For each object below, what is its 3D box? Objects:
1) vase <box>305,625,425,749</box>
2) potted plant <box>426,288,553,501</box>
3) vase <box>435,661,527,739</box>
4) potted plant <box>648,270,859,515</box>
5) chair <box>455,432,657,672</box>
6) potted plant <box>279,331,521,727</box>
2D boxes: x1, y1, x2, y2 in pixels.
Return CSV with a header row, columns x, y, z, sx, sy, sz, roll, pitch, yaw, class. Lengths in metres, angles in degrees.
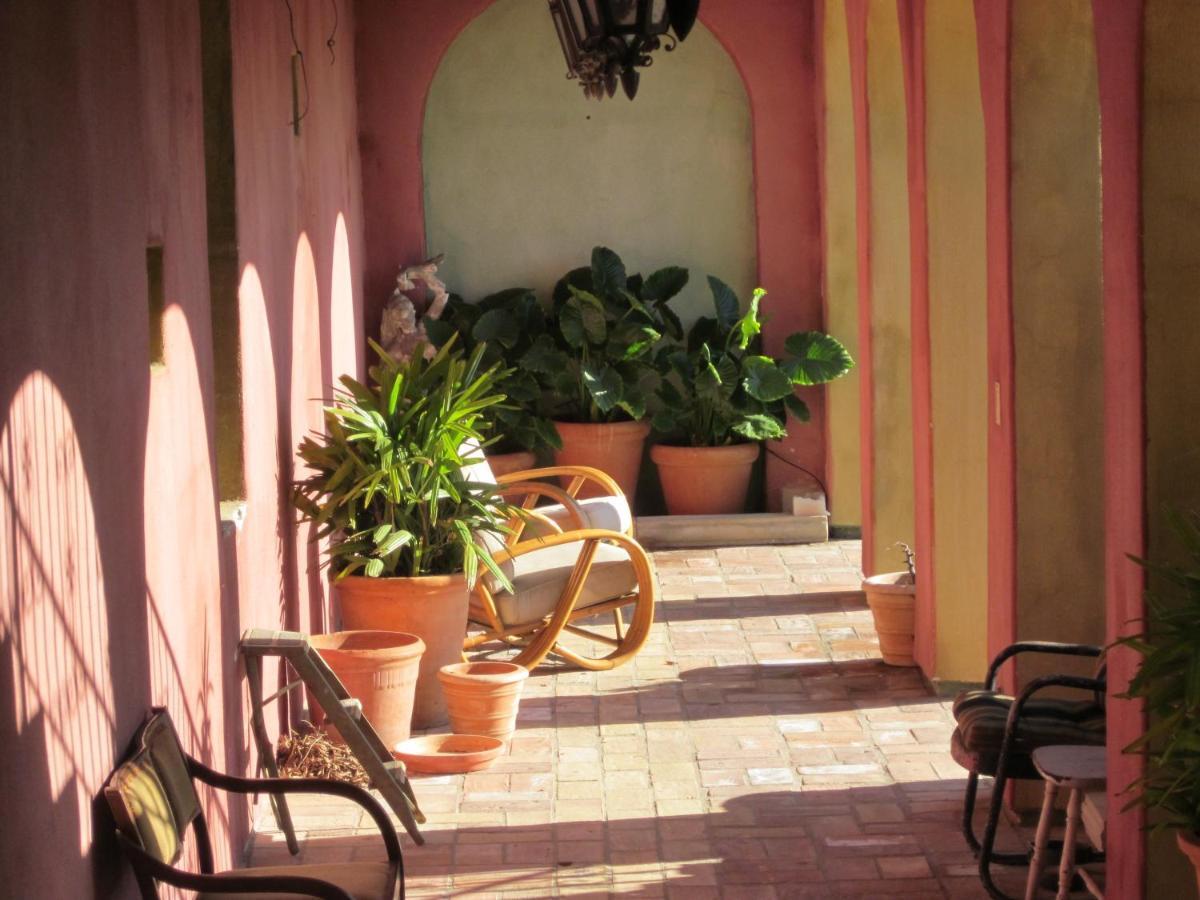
x,y,z,sx,sy,sz,roll,pitch,yaw,class
-0.849,0.980,4.528,0.462,0.393,0.480,1,2,9,vase
-0.604,-0.575,8.501,0.491,1.209,1.115,-11,2,-45,potted plant
-0.484,1.131,4.838,0.376,0.299,0.391,0,-1,39,vase
0.953,-0.214,8.733,1.676,1.694,1.487,3,-2,3,potted plant
-0.310,0.667,5.648,1.019,0.946,0.822,-4,-1,-13,chair
-0.700,0.505,5.014,0.841,1.489,0.870,3,-6,-38,potted plant
